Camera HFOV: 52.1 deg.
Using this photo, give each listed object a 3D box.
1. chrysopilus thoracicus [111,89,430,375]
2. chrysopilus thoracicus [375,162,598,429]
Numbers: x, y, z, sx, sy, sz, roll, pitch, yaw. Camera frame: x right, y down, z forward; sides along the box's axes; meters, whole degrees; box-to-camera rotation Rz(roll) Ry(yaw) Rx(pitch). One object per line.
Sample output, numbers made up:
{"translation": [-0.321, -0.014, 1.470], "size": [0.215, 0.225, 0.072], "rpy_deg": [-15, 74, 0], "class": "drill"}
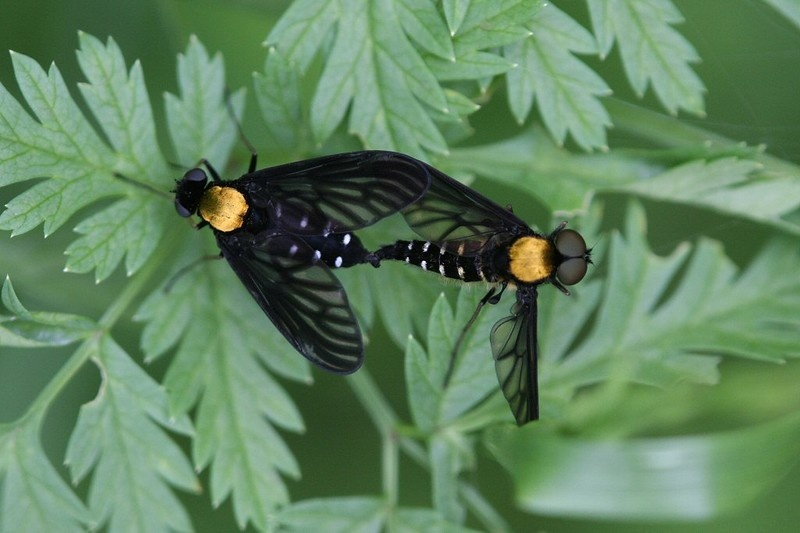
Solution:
{"translation": [-0.478, -0.109, 3.073], "size": [1.151, 0.848, 0.320], "rpy_deg": [14, 4, -22], "class": "chrysopilus thoracicus"}
{"translation": [0.379, 0.020, 3.149], "size": [0.865, 1.123, 0.354], "rpy_deg": [-22, -6, 15], "class": "chrysopilus thoracicus"}
